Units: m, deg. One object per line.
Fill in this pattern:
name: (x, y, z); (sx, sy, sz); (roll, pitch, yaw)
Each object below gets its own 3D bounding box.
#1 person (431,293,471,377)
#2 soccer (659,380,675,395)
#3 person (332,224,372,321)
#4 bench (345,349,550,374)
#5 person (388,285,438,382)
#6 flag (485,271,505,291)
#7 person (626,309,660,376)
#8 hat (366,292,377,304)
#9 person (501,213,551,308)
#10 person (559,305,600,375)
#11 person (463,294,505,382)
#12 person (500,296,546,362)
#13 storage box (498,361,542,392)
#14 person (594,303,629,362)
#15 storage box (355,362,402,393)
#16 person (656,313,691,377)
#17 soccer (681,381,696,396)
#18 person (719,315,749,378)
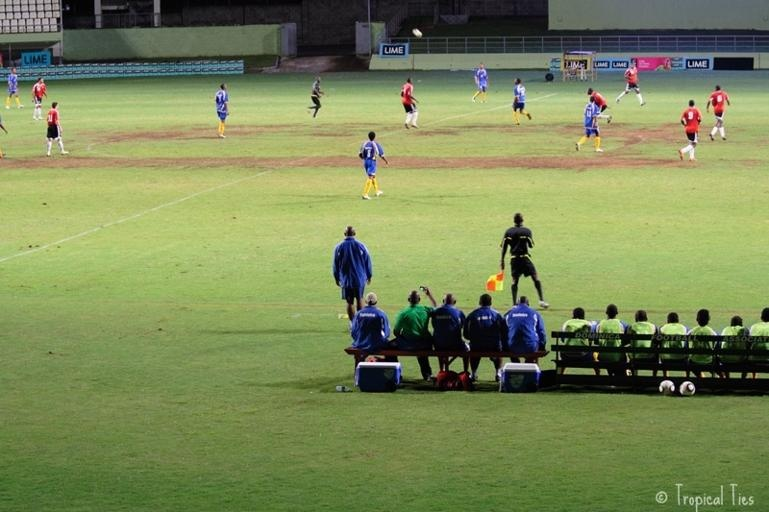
person: (1.764, 1.995, 40.949); (1.156, 1.926, 0.821); (-1, -2, -4)
soccer: (7.413, 3.424, 39.932); (0.388, 0.371, 0.131); (-1, 2, 3)
person: (-0.955, 0.383, 43.324); (1.285, 2.490, 1.126); (0, -2, -6)
bench: (1.427, 2.303, 40.819); (3.491, 0.680, 0.520); (4, -40, 0)
person: (0.748, 2.043, 41.122); (1.357, 2.211, 1.034); (-1, -2, -5)
flag: (3.241, 0.731, 44.797); (0.691, 0.624, 0.056); (5, 19, 15)
person: (6.840, 2.192, 40.411); (0.930, 1.436, 0.679); (0, -5, 0)
hat: (-0.349, 1.113, 40.606); (0.295, 0.276, 0.302); (1, 31, 3)
person: (4.009, 0.088, 44.250); (1.196, 2.711, 1.460); (-2, 2, -14)
person: (5.219, 2.201, 40.674); (1.115, 1.558, 0.767); (-2, -1, -2)
person: (2.734, 2.232, 40.990); (1.161, 2.217, 1.471); (0, -6, 7)
person: (3.712, 1.920, 40.803); (1.148, 1.551, 0.931); (-1, -1, -10)
storage box: (3.607, 3.117, 40.330); (0.896, 0.603, 1.067); (0, 2, 7)
person: (6.017, 2.075, 40.473); (0.933, 1.382, 0.648); (-1, -4, -3)
storage box: (-0.206, 3.184, 40.159); (1.007, 0.511, 0.895); (0, -1, 6)
person: (7.652, 2.286, 40.319); (0.945, 1.390, 0.681); (0, -4, 2)
soccer: (8.003, 3.445, 39.920); (0.491, 0.378, 0.201); (-2, 2, -29)
person: (9.173, 2.378, 40.005); (0.684, 1.580, 0.380); (-1, 2, 12)
